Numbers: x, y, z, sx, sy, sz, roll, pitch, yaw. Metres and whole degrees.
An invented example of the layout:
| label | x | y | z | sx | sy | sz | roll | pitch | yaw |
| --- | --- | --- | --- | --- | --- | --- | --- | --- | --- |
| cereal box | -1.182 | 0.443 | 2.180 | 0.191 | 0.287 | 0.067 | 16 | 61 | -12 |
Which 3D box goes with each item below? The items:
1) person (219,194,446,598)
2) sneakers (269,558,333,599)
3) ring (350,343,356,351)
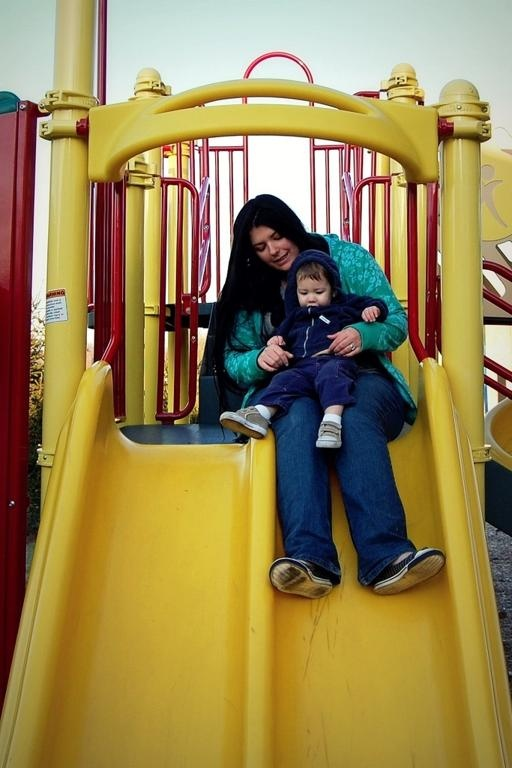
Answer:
| label | x | y | z | sx | sy | sz | roll | pitch | yaw |
| --- | --- | --- | --- | --- | --- | --- | --- | --- | --- |
| person | 0.171 | -0.019 | 1.679 | 0.387 | 0.669 | 1.108 | -5 | 34 | 3 |
| sneakers | 0.093 | 0.369 | 1.285 | 0.121 | 0.074 | 0.062 | 19 | 30 | -26 |
| ring | 0.240 | -0.092 | 1.607 | 0.010 | 0.018 | 0.005 | 1 | -2 | 29 |
